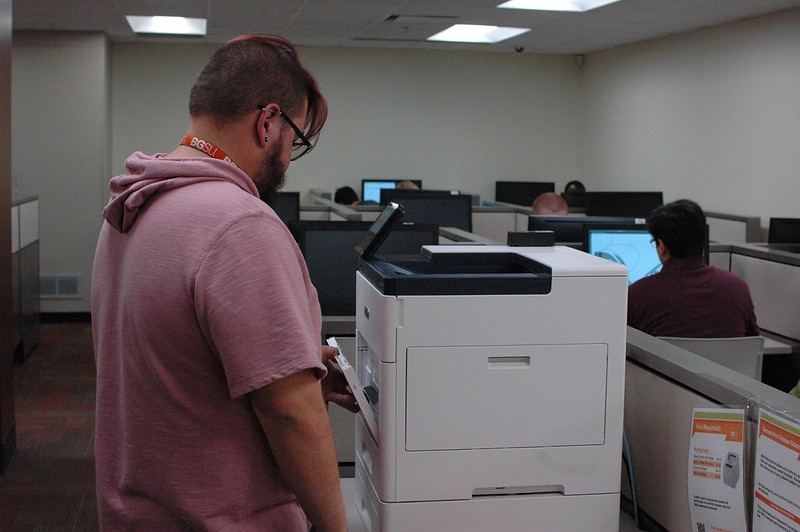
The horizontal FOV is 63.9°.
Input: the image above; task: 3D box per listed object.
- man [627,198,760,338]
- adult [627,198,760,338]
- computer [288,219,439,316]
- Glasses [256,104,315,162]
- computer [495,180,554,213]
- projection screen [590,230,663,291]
[{"bbox_3d":[1.267,0.140,2.853,0.533,0.803,0.472,-3,2,9],"label":"man"},{"bbox_3d":[1.266,0.155,2.860,0.587,0.841,0.506,-1,-2,20],"label":"adult"},{"bbox_3d":[-0.157,0.105,2.899,0.703,0.480,0.388,-1,48,-5],"label":"computer"},{"bbox_3d":[-0.245,-0.287,1.427,0.121,0.122,0.035,35,51,6],"label":"Glasses"},{"bbox_3d":[1.611,-0.966,8.732,0.946,0.500,0.197,0,6,0],"label":"computer"},{"bbox_3d":[0.976,-0.044,2.746,0.271,0.232,0.141,1,4,0],"label":"projection screen"}]
